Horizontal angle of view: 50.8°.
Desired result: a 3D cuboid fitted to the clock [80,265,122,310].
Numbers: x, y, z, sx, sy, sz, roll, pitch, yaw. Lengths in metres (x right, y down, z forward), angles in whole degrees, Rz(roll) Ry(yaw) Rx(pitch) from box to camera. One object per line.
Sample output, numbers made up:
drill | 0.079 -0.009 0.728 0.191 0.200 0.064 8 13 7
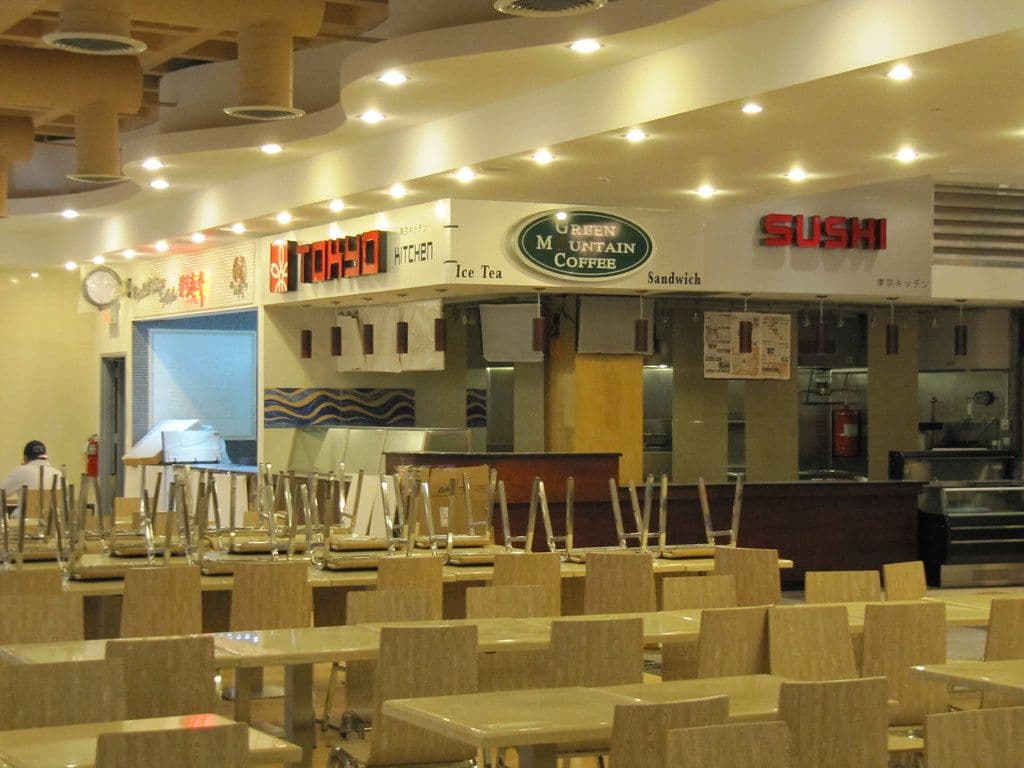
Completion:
clock | -5.693 -1.335 15.034 0.572 0.581 0.131 20 4 0
